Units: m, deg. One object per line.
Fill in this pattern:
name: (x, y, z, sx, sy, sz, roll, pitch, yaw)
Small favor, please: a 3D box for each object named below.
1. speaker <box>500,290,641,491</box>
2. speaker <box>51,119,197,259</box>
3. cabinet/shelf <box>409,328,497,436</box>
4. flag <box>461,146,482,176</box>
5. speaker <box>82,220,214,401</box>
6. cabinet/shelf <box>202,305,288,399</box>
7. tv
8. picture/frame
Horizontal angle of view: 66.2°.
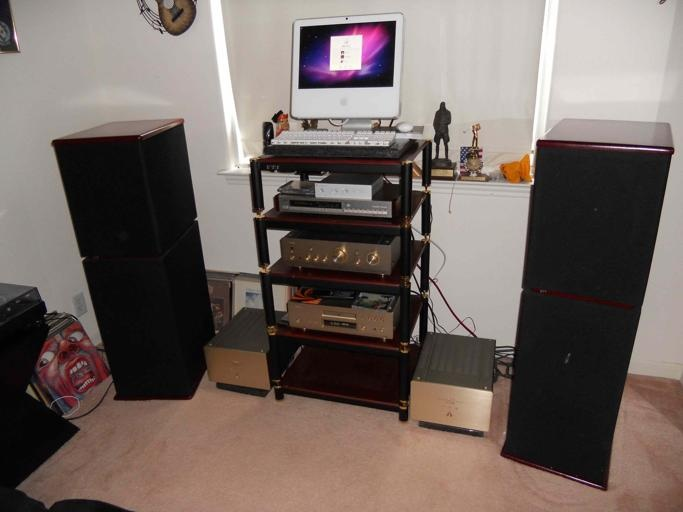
speaker: (1.193, 0.644, 2.623, 0.629, 0.995, 0.617, 34, -23, -35)
speaker: (-1.186, -0.405, 2.993, 0.476, 0.654, 0.662, 0, 22, 5)
cabinet/shelf: (0.630, 0.686, 2.945, 0.414, 0.314, 0.460, 7, 23, 15)
flag: (0.731, -0.533, 2.928, 0.120, 0.174, 0.092, 7, 30, 21)
speaker: (-1.217, 0.331, 3.186, 0.683, 0.962, 0.663, 13, 28, 24)
cabinet/shelf: (-0.544, 0.593, 3.294, 0.453, 0.331, 0.567, 1, 23, 4)
tv: (0.031, -0.933, 2.643, 0.615, 0.541, 0.056, 2, 7, 11)
picture/frame: (-0.566, 0.291, 3.278, 0.362, 0.351, 0.131, 3, 12, 8)
